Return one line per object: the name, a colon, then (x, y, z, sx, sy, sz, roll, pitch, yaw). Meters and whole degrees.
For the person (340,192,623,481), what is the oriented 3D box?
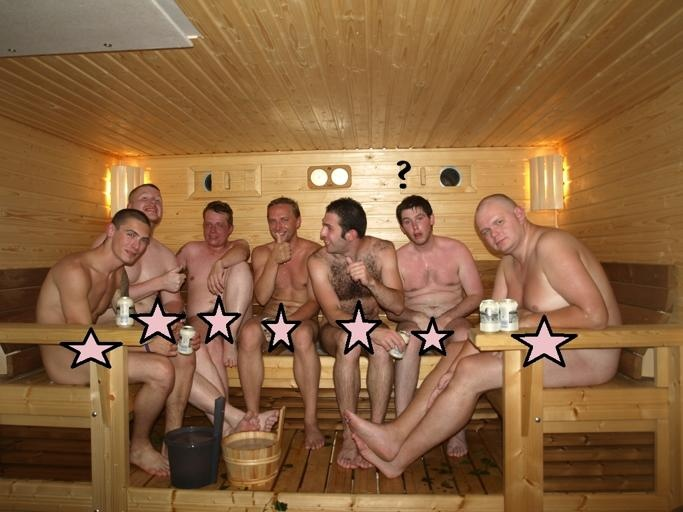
person: (0.818, 0.436, 3.084, 1.260, 1.556, 0.712, 2, 4, 24)

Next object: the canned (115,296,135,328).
canned: (-1.147, 0.293, 2.967, 0.084, 0.152, 0.094, 0, 4, -14)

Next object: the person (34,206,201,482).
person: (-1.316, 0.468, 3.201, 0.769, 1.481, 0.566, 2, 4, 26)

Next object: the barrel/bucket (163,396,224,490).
barrel/bucket: (-0.806, 0.988, 3.056, 0.296, 0.477, 0.246, -1, 4, -20)

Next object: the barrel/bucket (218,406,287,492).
barrel/bucket: (-0.487, 1.040, 3.080, 0.328, 0.394, 0.247, 0, 4, -9)

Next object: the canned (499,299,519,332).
canned: (0.832, 0.295, 2.798, 0.078, 0.152, 0.080, 3, 5, 39)
